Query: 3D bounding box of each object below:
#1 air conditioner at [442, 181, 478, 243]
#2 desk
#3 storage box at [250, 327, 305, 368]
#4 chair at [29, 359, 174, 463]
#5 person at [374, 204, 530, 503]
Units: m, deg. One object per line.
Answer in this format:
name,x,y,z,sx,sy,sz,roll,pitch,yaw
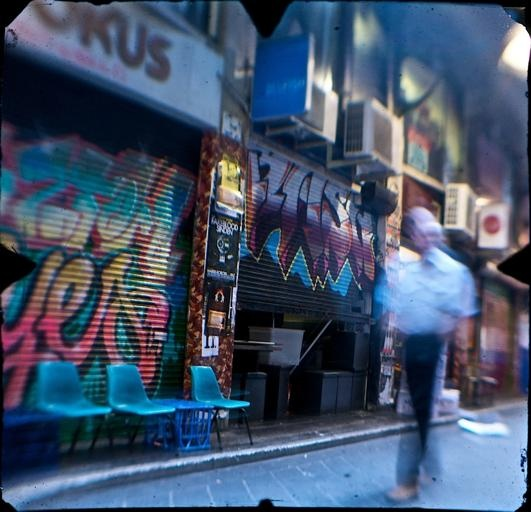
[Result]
air conditioner,4.988,-1.251,11.444,0.553,1.638,1.698,-3,-10,27
desk,-0.842,1.684,4.450,0.302,0.416,0.576,2,-4,-26
storage box,0.151,1.446,6.434,0.477,0.683,0.860,-6,-12,41
chair,-1.440,1.323,3.923,0.668,1.245,0.785,10,-18,-42
person,1.192,0.664,3.224,0.557,2.084,0.314,4,-8,-4
